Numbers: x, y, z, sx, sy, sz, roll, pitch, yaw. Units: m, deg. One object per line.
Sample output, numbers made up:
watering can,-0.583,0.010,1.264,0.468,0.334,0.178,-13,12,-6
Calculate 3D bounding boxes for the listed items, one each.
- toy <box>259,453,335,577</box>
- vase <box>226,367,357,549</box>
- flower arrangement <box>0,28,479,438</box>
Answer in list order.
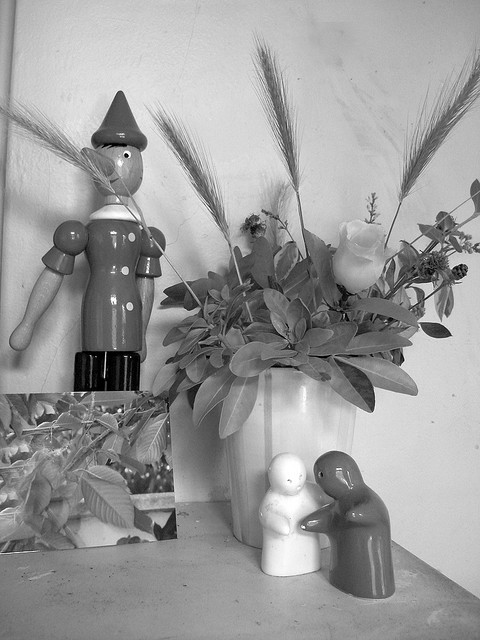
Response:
toy,0.059,0.199,0.587,0.086,0.114,0.061,-3,5,-20
vase,0.052,0.150,0.681,0.202,0.199,0.195,0,-7,-1
flower arrangement,0.031,-0.161,0.747,0.503,0.403,0.391,2,-1,7
